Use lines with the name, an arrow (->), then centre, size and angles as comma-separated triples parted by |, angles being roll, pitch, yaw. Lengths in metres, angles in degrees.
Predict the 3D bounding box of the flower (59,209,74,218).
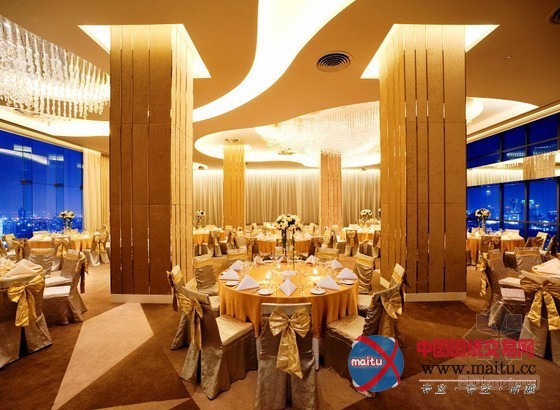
flower -> -6.220, 0.284, 11.625 | 0.393, 0.204, 0.410 | 4, -1, -21

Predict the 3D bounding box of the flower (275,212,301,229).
flower -> 0.137, 0.332, 7.985 | 0.323, 0.247, 0.338 | 1, -2, -15
